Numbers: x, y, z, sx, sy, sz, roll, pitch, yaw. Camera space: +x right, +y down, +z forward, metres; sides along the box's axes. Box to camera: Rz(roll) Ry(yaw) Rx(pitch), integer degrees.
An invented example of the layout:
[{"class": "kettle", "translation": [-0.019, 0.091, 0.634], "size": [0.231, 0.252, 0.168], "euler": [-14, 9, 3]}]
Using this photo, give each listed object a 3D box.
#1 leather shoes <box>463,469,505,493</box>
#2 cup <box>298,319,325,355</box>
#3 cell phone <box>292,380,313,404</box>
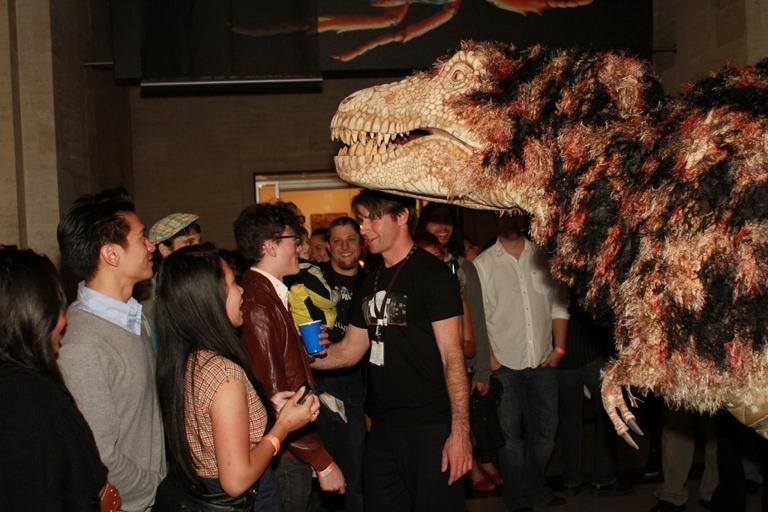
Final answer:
[{"class": "leather shoes", "translation": [0.922, 2.030, 6.462], "size": [0.143, 0.096, 0.363], "euler": [-1, -3, -17]}, {"class": "cup", "translation": [-0.474, 0.553, 4.911], "size": [0.205, 0.211, 0.210], "euler": [-16, 0, 0]}, {"class": "cell phone", "translation": [-0.473, 0.798, 4.161], "size": [0.093, 0.036, 0.119], "euler": [-28, -15, -43]}]
